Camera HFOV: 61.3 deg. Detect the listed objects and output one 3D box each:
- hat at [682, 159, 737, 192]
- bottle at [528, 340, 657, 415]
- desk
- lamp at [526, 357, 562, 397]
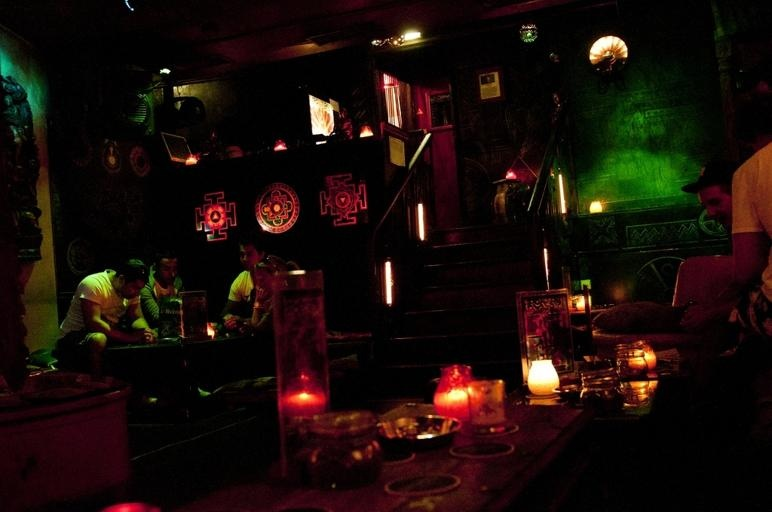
[{"bbox_3d":[2.361,-0.566,4.710,0.376,0.178,0.223,-5,1,9],"label":"hat"},{"bbox_3d":[1.269,0.673,3.673,0.417,0.381,0.989,-9,-2,26],"label":"bottle"},{"bbox_3d":[-2.253,1.212,6.407,1.286,0.543,1.218,-5,12,-12],"label":"desk"},{"bbox_3d":[0.879,0.691,3.721,0.203,0.183,0.197,-2,-1,6],"label":"lamp"}]
